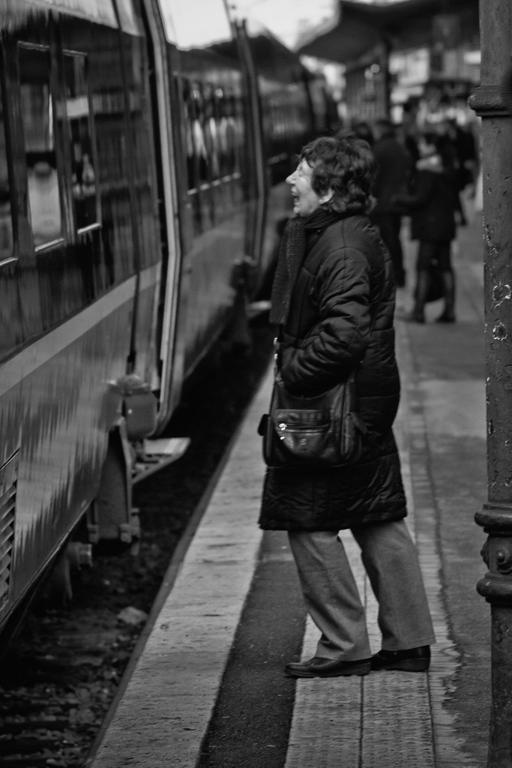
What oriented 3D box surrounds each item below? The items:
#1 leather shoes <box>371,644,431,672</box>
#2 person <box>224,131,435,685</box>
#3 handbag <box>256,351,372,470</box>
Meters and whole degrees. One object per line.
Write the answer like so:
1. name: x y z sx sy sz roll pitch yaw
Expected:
1. leather shoes: 0.481 0.908 3.138 0.223 0.104 0.079 4 -4 2
2. person: 0.245 0.106 2.947 0.431 1.736 0.533 1 6 37
3. handbag: 0.168 0.110 2.807 0.306 0.268 0.200 0 5 21
